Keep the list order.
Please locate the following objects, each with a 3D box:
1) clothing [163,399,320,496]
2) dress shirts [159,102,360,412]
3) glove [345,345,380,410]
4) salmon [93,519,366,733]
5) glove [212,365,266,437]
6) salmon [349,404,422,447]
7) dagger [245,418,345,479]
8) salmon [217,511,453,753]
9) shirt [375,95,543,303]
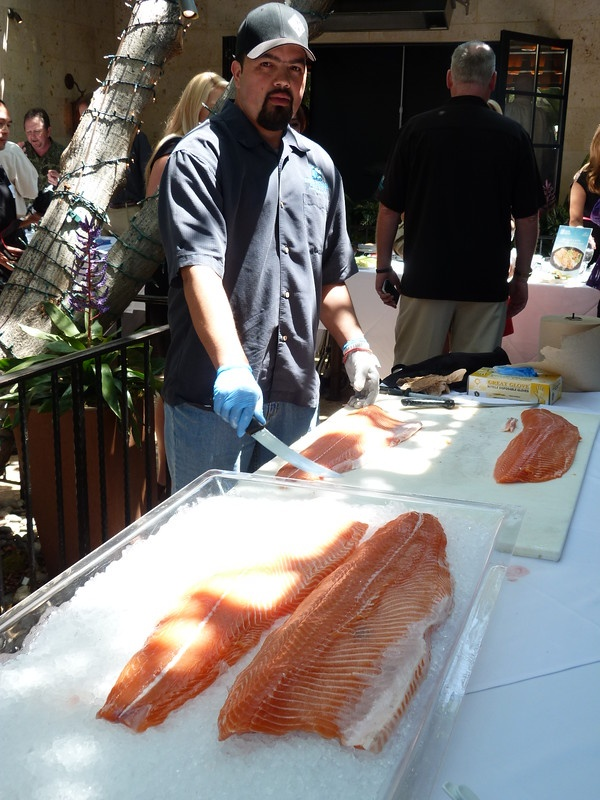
[{"bbox_3d":[-0.194,0.141,2.067,0.619,0.168,0.153,-6,22,-32],"label":"clothing"},{"bbox_3d":[-0.179,-0.520,2.479,0.517,1.028,0.886,21,22,38],"label":"dress shirts"},{"bbox_3d":[0.224,-0.079,2.506,0.158,0.194,0.071,-11,18,-28],"label":"glove"},{"bbox_3d":[-0.119,0.349,1.083,0.112,0.033,0.450,16,20,30],"label":"salmon"},{"bbox_3d":[-0.156,-0.009,1.808,0.071,0.190,0.144,-24,12,30],"label":"glove"},{"bbox_3d":[0.280,0.061,2.213,0.129,0.038,0.182,-13,25,-14],"label":"salmon"},{"bbox_3d":[-0.023,0.135,1.814,0.237,0.151,0.191,12,17,35],"label":"dagger"},{"bbox_3d":[0.113,0.347,1.111,0.244,0.086,0.686,6,17,26],"label":"salmon"},{"bbox_3d":[0.963,-1.165,4.064,0.896,1.120,0.300,5,14,13],"label":"shirt"}]
